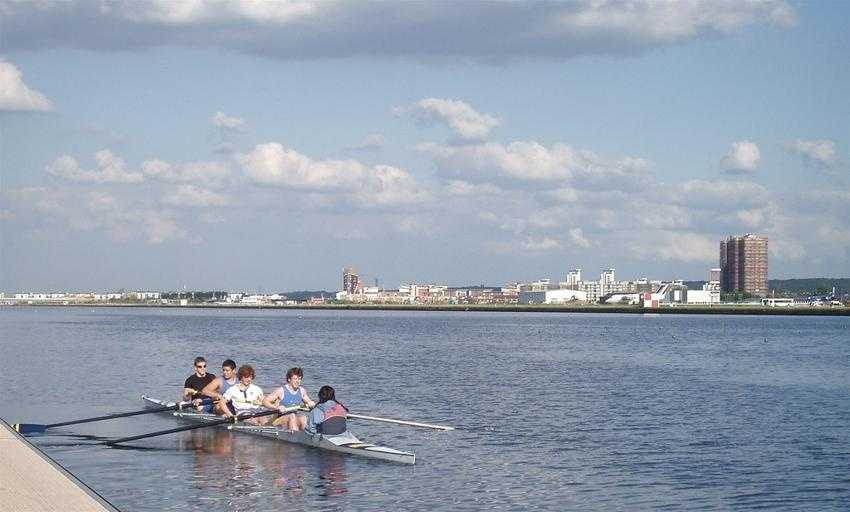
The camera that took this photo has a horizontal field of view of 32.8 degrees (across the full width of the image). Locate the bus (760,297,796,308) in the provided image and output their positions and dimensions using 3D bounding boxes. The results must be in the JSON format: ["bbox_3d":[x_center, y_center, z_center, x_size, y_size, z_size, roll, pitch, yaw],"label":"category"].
[{"bbox_3d":[94.180,12.763,384.672,8.081,1.702,2.015,1,-3,5],"label":"bus"}]
